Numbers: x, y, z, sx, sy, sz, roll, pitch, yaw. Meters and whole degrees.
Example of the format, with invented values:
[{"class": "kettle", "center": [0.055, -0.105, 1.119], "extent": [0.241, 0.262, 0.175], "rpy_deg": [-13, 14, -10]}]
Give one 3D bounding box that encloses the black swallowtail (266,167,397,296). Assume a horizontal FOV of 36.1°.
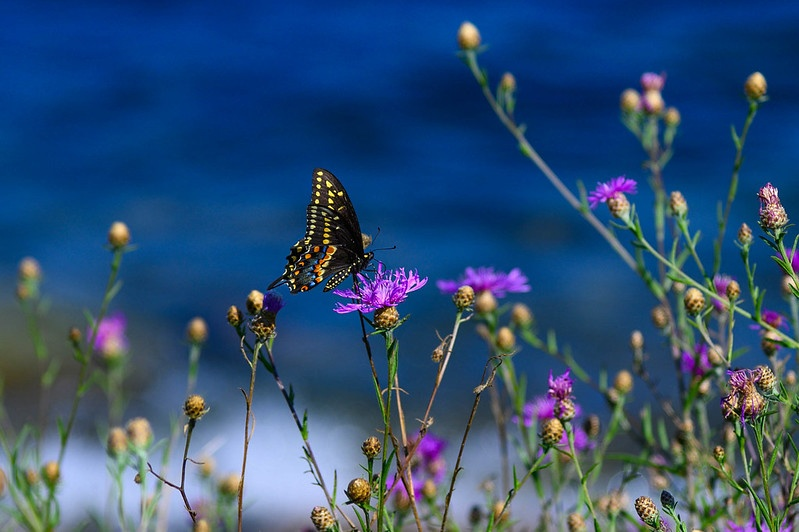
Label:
[{"class": "black swallowtail", "center": [-0.375, -0.223, 7.079], "extent": [0.738, 0.834, 0.575], "rpy_deg": [1, -10, -14]}]
